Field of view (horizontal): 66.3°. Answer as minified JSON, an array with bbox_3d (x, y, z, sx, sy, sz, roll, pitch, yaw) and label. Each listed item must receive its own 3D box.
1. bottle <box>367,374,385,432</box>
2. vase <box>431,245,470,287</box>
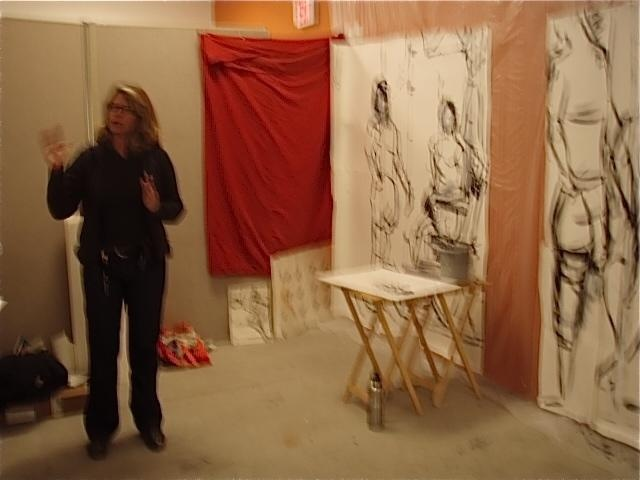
[{"bbox_3d":[0.245,0.724,2.184,0.074,0.255,0.043,-3,7,3],"label":"bottle"},{"bbox_3d":[0.626,0.125,2.380,0.154,0.191,0.167,0,6,5],"label":"vase"}]
